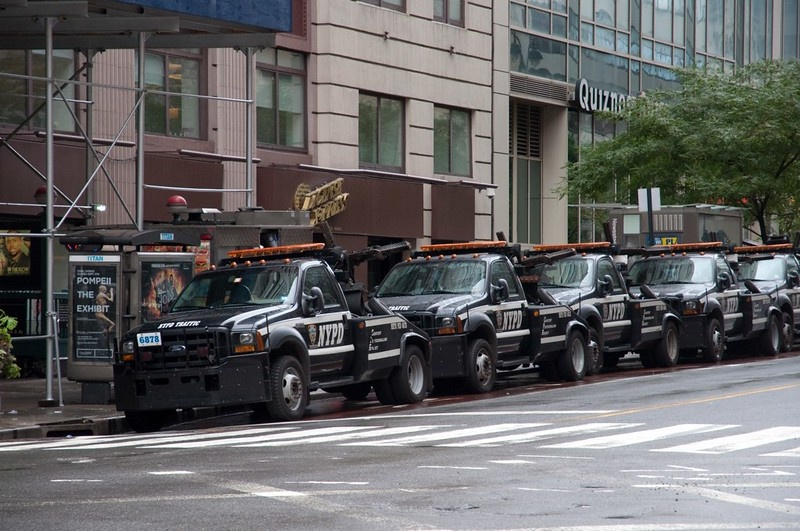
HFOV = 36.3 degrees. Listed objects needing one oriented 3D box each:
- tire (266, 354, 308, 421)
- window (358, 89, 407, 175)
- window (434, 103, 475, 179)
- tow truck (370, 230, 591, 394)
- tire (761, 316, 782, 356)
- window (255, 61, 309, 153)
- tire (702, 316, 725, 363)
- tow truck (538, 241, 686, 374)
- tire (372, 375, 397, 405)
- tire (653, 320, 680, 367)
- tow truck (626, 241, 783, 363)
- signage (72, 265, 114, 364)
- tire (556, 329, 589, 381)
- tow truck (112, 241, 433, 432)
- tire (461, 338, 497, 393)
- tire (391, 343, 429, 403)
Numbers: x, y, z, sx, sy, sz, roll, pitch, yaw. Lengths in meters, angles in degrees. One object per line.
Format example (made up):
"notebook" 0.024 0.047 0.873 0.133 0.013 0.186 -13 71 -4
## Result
"tire" -1.945 2.030 20.362 0.436 1.052 1.054 -5 -9 24
"window" -0.641 -4.060 37.463 0.125 2.453 2.424 -12 18 -41
"window" 1.678 -4.049 39.831 0.108 2.522 2.353 -6 -10 38
"tow truck" 1.797 0.964 24.589 2.615 1.946 4.014 -4 -7 32
"tire" 9.595 1.825 31.765 0.370 1.099 1.098 -4 9 33
"window" -3.563 -4.462 34.353 0.108 2.599 2.701 -1 -3 35
"tire" 7.618 1.867 29.669 0.370 1.088 1.098 -5 17 32
"tow truck" 4.742 0.901 27.379 2.361 2.015 3.475 -5 -8 34
"tire" -0.295 2.287 22.578 0.214 0.603 0.602 -3 -7 26
"tire" 6.205 1.943 28.599 0.274 0.828 0.832 -8 -21 9
"tow truck" 7.678 0.814 30.538 2.622 1.847 3.844 -5 -7 33
"signage" -5.804 0.876 22.911 1.002 1.898 0.109 -3 -4 17
"tire" 3.555 1.862 25.445 0.282 0.875 0.871 -4 15 36
"tow truck" -2.253 1.171 21.433 2.305 3.259 5.267 -6 -6 45
"tire" 1.513 1.978 23.762 0.386 1.066 1.068 -5 0 31
"tire" 0.120 2.055 22.792 0.424 1.112 1.115 -6 -6 25
